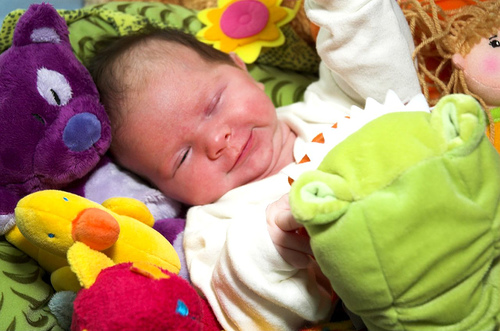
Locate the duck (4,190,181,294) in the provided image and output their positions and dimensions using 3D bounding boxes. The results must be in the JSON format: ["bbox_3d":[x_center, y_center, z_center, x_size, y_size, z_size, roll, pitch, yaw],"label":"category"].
[{"bbox_3d":[-0.348,0.159,1.346,0.389,0.272,0.356,3,19,29],"label":"duck"}]

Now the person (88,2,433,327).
[{"bbox_3d":[-0.063,-0.105,1.468,0.751,0.421,0.928,-28,81,-36],"label":"person"}]
